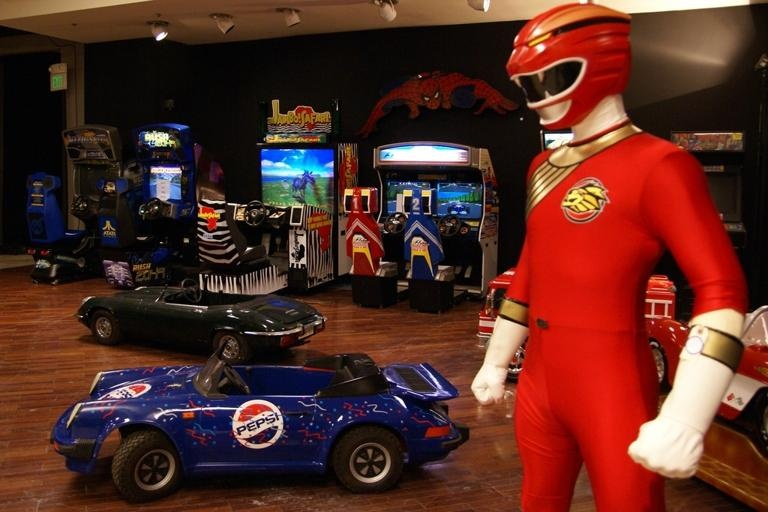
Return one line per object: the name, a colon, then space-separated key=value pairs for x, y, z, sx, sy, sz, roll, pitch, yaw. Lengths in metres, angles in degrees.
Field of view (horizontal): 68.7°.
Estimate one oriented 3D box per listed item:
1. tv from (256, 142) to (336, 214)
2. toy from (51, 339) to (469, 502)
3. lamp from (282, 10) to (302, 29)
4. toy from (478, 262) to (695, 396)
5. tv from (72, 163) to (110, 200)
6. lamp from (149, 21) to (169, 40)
tv: x=-1.196 y=-1.102 z=7.947 sx=1.120 sy=0.756 sz=0.022 roll=3 pitch=5 yaw=19
toy: x=-0.754 y=0.876 z=3.552 sx=1.954 sy=0.606 sz=1.169 roll=3 pitch=0 yaw=3
lamp: x=-1.174 y=-3.030 z=7.146 sx=0.201 sy=0.235 sz=0.379 roll=0 pitch=6 yaw=-10
toy: x=1.581 y=0.532 z=4.867 sx=1.812 sy=0.997 sz=1.141 roll=1 pitch=2 yaw=21
tv: x=-4.478 y=-1.146 z=8.631 sx=0.628 sy=0.567 sz=0.343 roll=1 pitch=-2 yaw=-7
lamp: x=-3.189 y=-3.180 z=7.986 sx=0.211 sy=0.223 sz=0.314 roll=-1 pitch=7 yaw=-20
